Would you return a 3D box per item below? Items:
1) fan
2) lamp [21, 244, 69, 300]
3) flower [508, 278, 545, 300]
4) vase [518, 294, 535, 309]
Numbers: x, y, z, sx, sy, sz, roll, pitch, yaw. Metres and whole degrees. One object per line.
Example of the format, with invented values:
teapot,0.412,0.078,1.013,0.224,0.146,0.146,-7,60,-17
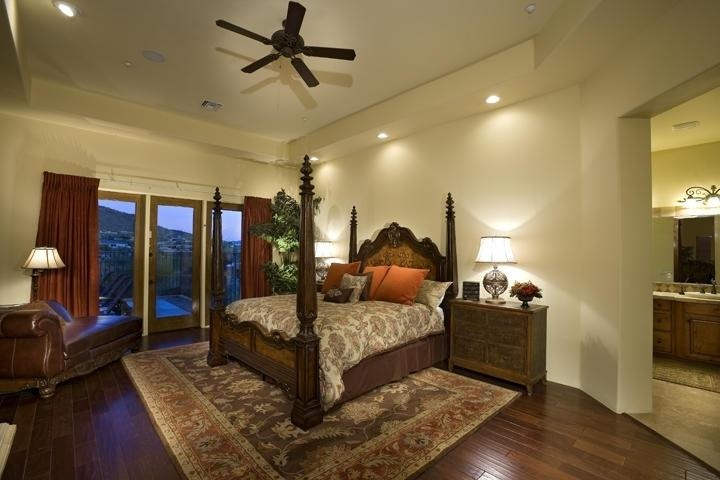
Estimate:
fan,-0.830,-2.486,5.472,1.478,0.626,1.139,1,-2,9
lamp,-4.971,0.520,6.901,0.503,0.917,0.533,2,-2,-38
flower,2.320,0.662,6.054,0.312,0.218,0.304,2,-1,-44
vase,2.254,0.838,6.041,0.205,0.240,0.209,1,-6,-1
